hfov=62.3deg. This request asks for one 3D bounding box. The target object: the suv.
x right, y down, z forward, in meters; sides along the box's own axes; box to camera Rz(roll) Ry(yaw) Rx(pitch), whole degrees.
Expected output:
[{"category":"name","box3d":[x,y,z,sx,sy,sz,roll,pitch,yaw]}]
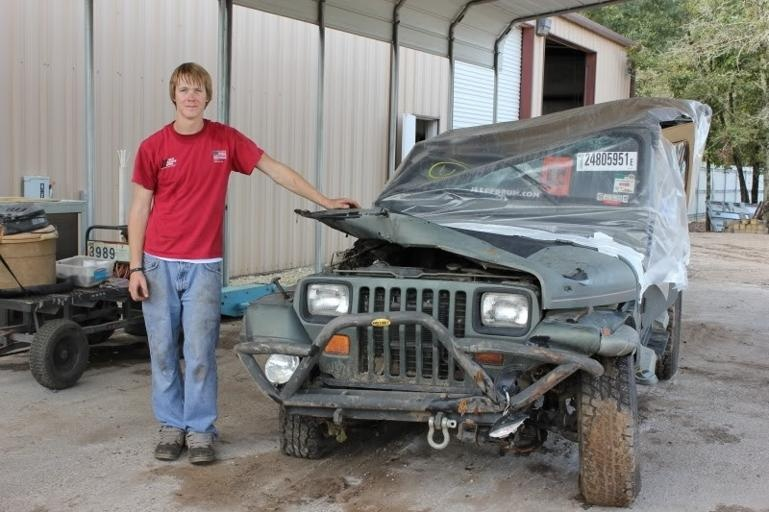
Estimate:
[{"category":"suv","box3d":[1.228,0.144,5.749,2.386,2.320,4.221,0,0,27]}]

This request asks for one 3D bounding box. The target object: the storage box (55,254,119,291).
[{"category":"storage box","box3d":[-3.146,0.148,6.601,0.414,0.170,0.345,7,13,32]}]

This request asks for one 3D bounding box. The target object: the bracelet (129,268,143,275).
[{"category":"bracelet","box3d":[-1.894,0.108,4.868,0.094,0.042,0.065,-5,14,-23]}]
